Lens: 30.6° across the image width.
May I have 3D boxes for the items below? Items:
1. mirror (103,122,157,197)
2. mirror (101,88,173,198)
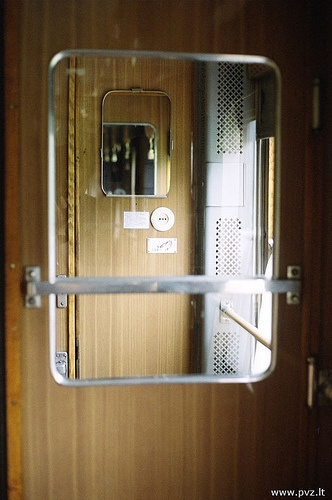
[{"bbox_3d":[-0.140,-0.343,2.339,0.211,0.009,0.357,0,-44,-4],"label":"mirror"},{"bbox_3d":[-0.116,-0.403,2.331,0.285,0.540,0.011,-1,-32,-2],"label":"mirror"}]
